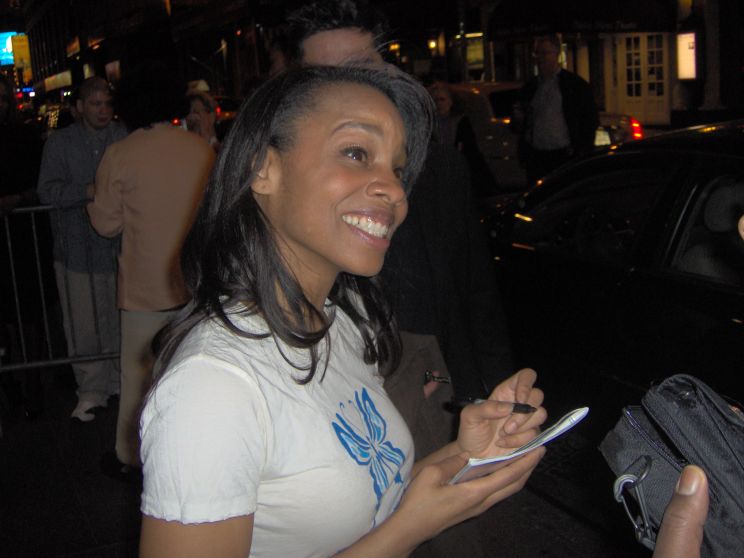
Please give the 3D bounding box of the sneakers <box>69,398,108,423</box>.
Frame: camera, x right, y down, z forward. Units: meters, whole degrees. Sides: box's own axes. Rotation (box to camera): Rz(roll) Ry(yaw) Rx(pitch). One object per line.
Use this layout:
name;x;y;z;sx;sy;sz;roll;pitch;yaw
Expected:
sneakers;-2.540;1.150;5.327;0.203;0.079;0.213;6;11;-24
